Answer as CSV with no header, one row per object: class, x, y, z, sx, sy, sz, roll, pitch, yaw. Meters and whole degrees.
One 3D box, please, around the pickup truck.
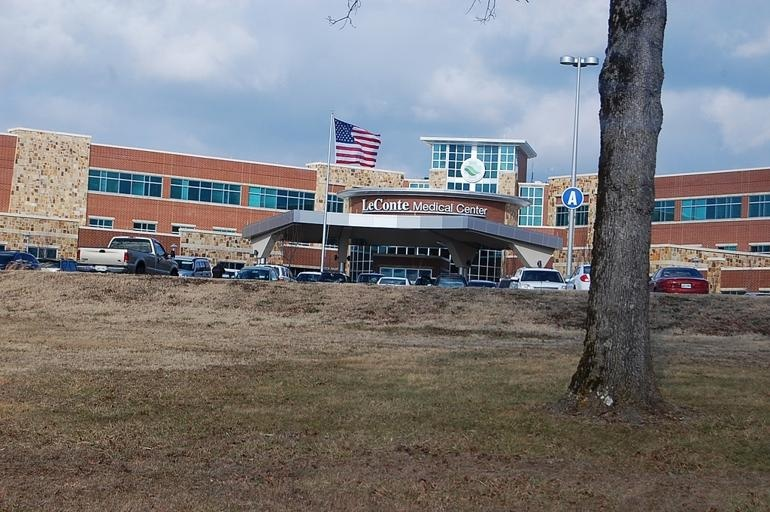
pickup truck,-10.755,0.125,42.847,1.830,1.423,3.560,1,-1,20
